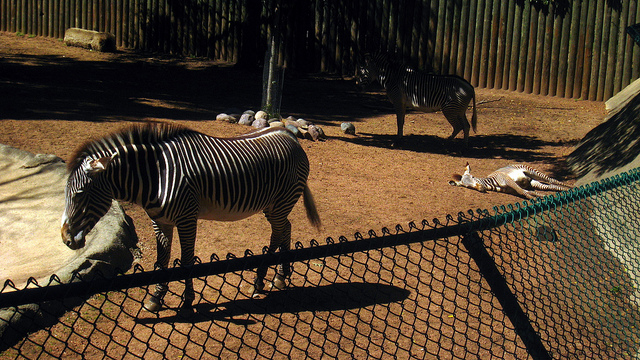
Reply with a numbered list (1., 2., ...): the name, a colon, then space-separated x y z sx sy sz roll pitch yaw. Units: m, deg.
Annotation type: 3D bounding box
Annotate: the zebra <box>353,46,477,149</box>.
1. zebra: 2.533 -2.087 17.321 3.180 2.149 0.933 9 34 16
